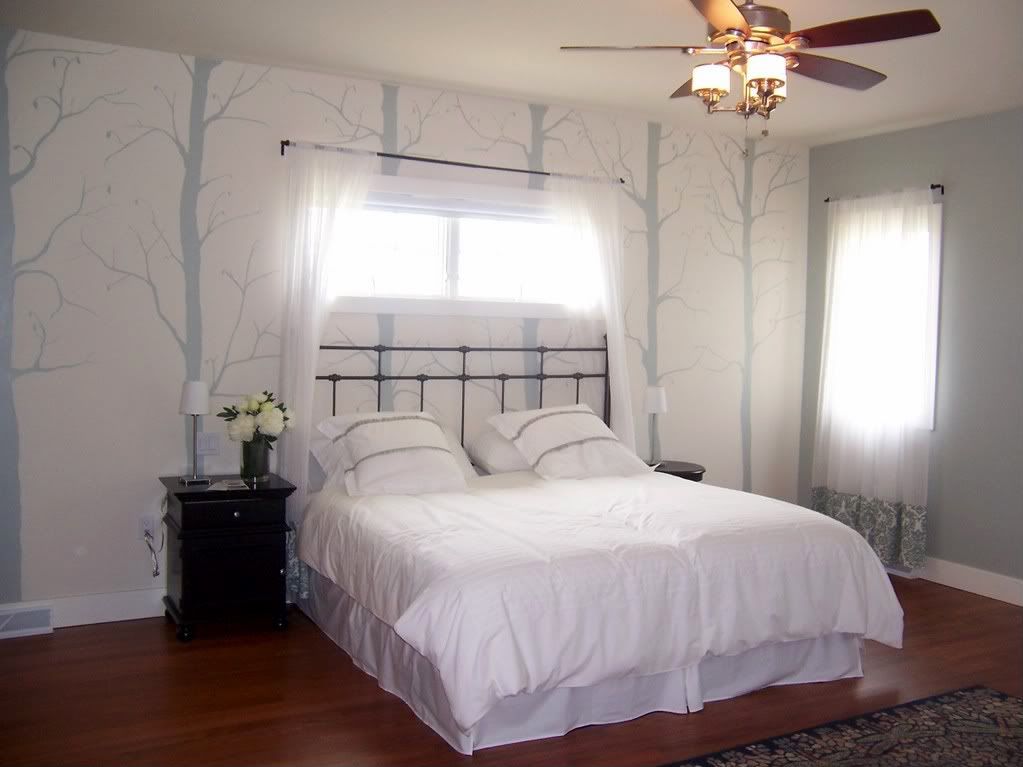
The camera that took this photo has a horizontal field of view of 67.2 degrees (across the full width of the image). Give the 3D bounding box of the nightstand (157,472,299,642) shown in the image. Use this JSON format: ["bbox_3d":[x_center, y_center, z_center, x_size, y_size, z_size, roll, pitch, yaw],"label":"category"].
[{"bbox_3d":[-1.562,0.942,4.264,0.660,0.796,0.484,-2,8,-26],"label":"nightstand"}]

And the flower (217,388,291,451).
[{"bbox_3d":[-1.412,0.199,4.244,0.316,0.230,0.327,-6,-9,-8],"label":"flower"}]

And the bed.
[{"bbox_3d":[0.021,0.893,4.027,2.207,1.401,2.270,0,-2,-28],"label":"bed"}]

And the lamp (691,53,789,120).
[{"bbox_3d":[0.987,-1.283,3.432,0.331,0.266,0.418,2,12,4],"label":"lamp"}]

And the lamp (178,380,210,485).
[{"bbox_3d":[-1.766,0.263,4.332,0.138,0.563,0.294,-2,7,-21],"label":"lamp"}]
